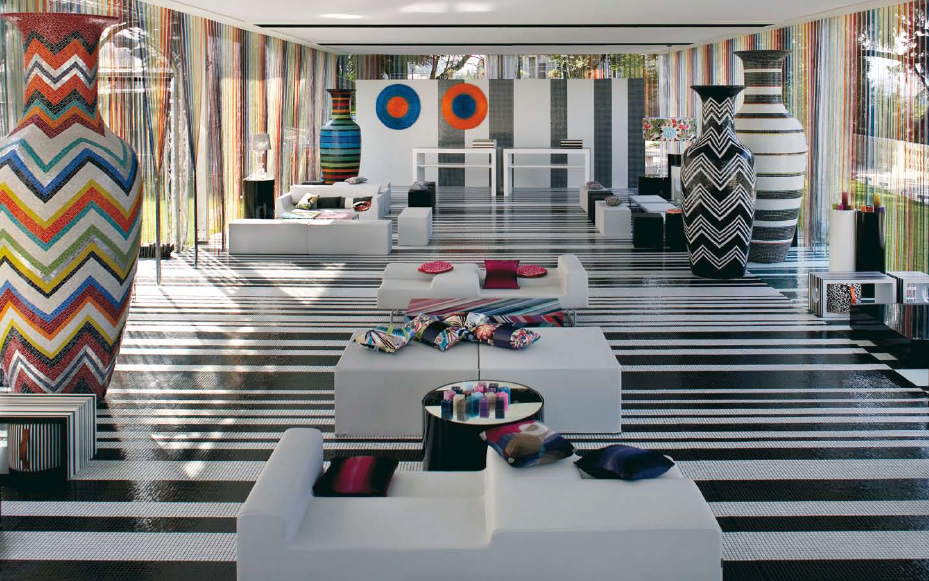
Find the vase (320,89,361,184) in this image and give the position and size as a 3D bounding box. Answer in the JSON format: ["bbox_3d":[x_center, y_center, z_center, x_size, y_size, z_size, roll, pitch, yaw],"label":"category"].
[{"bbox_3d":[-2.907,-3.603,15.979,0.912,2.127,0.712,-3,8,-12],"label":"vase"}]

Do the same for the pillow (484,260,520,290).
[{"bbox_3d":[0.398,-0.162,7.407,0.344,0.305,0.102,1,-10,-2],"label":"pillow"}]

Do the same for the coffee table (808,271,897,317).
[{"bbox_3d":[4.198,0.009,7.455,0.559,0.333,0.548,0,6,10],"label":"coffee table"}]

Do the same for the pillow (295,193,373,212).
[{"bbox_3d":[-2.407,-1.642,12.814,1.380,0.334,0.524,-3,9,-15],"label":"pillow"}]

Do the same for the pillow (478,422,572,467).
[{"bbox_3d":[0.423,0.873,3.819,0.374,0.119,0.381,-8,4,17],"label":"pillow"}]

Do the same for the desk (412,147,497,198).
[{"bbox_3d":[-0.308,-3.218,18.466,2.205,1.238,2.646,-2,9,-5],"label":"desk"}]

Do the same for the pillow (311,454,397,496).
[{"bbox_3d":[-0.562,0.966,3.625,0.214,0.063,0.240,2,19,2],"label":"pillow"}]

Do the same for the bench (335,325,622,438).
[{"bbox_3d":[0.090,0.725,5.190,2.125,0.612,0.705,-2,9,-8],"label":"bench"}]

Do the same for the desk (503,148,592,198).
[{"bbox_3d":[1.956,-3.277,18.764,2.075,1.135,0.665,-8,25,-33],"label":"desk"}]
